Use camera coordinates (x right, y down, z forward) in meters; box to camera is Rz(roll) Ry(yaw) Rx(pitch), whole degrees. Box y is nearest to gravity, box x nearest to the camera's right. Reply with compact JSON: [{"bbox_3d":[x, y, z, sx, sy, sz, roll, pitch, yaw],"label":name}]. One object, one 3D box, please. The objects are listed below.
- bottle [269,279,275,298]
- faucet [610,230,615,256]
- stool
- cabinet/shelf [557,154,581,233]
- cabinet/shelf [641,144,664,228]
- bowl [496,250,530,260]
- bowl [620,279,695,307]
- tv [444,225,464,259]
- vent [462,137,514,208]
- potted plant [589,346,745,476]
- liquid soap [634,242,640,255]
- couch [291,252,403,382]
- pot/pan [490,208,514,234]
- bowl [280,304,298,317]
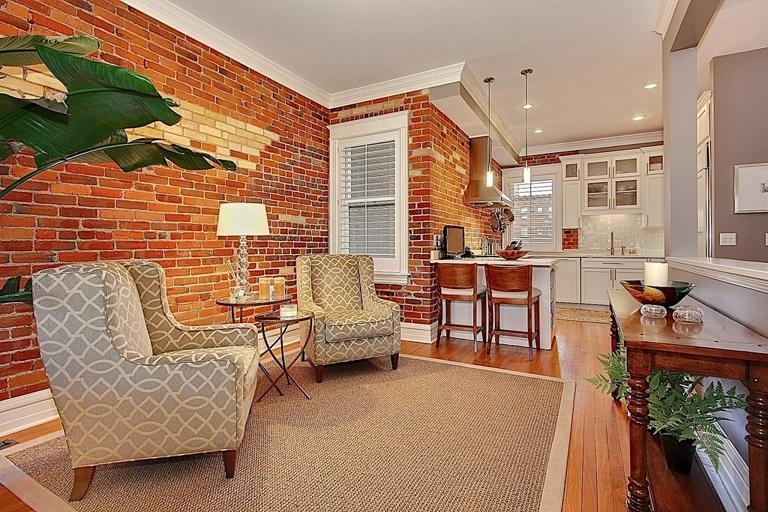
[{"bbox_3d":[-1.026,0.299,4.272,0.053,0.173,0.172,-2,4,-12],"label":"bottle"},{"bbox_3d":[3.842,-0.233,7.831,0.063,0.377,0.146,1,4,25],"label":"faucet"},{"bbox_3d":[-0.920,0.941,4.232,0.601,0.694,0.584,-3,-13,-17],"label":"stool"},{"bbox_3d":[3.249,-1.088,7.992,0.372,1.265,0.225,4,12,41],"label":"cabinet/shelf"},{"bbox_3d":[4.278,-1.100,7.394,0.249,1.238,0.127,3,6,44],"label":"cabinet/shelf"},{"bbox_3d":[1.542,-0.010,5.646,0.293,0.105,0.421,1,3,25],"label":"bowl"},{"bbox_3d":[1.776,0.248,3.110,0.284,0.095,0.271,0,-2,0],"label":"bowl"},{"bbox_3d":[0.872,-0.168,5.899,0.140,0.322,0.479,0,0,28],"label":"tv"},{"bbox_3d":[1.516,-1.242,7.083,0.629,1.024,1.102,1,1,18],"label":"vent"},{"bbox_3d":[1.831,0.910,2.939,0.845,0.436,0.818,1,1,-1],"label":"potted plant"},{"bbox_3d":[4.147,-0.129,7.648,0.121,0.191,0.186,1,4,28],"label":"liquid soap"},{"bbox_3d":[-0.296,0.557,5.021,1.138,1.436,1.204,1,-6,-21],"label":"couch"},{"bbox_3d":[2.026,-0.629,8.034,0.411,0.393,0.412,-1,4,-6],"label":"pot/pan"},{"bbox_3d":[-0.825,0.473,3.997,0.107,0.061,0.103,-1,-1,0],"label":"bowl"}]
